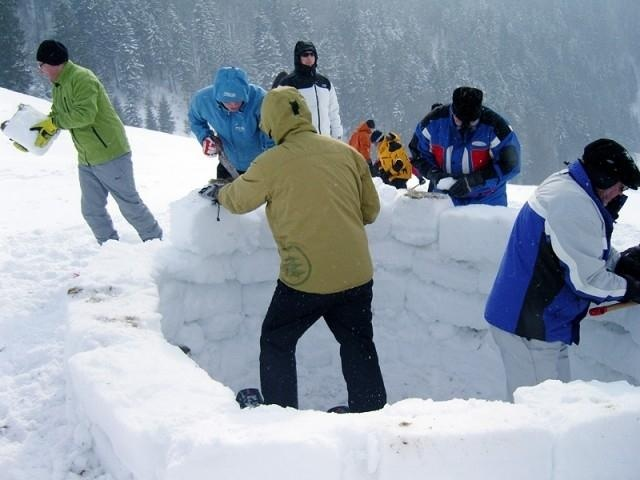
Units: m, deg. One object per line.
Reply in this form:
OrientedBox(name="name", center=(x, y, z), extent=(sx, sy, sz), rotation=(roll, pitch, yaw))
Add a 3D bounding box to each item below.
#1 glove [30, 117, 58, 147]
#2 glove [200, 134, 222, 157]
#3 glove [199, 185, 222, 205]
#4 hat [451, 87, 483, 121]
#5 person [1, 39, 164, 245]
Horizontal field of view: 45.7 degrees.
OrientedBox(name="glove", center=(-3.294, -1.291, 9.108), extent=(0.273, 0.334, 0.174), rotation=(-16, 23, -35))
OrientedBox(name="glove", center=(-1.336, -1.153, 9.312), extent=(0.259, 0.252, 0.208), rotation=(-1, 11, 16))
OrientedBox(name="glove", center=(-1.300, -0.559, 9.065), extent=(0.155, 0.195, 0.429), rotation=(4, 15, -47))
OrientedBox(name="hat", center=(1.802, -1.697, 9.109), extent=(0.417, 0.283, 0.417), rotation=(4, 0, 2))
OrientedBox(name="person", center=(-2.762, -1.173, 9.343), extent=(1.245, 2.499, 0.581), rotation=(0, 19, 5))
